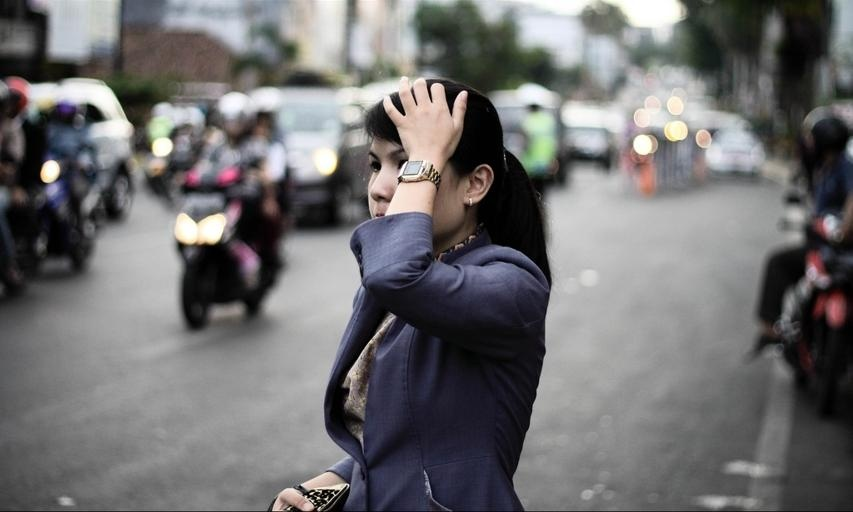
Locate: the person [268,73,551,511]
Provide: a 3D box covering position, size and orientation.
[{"bbox_3d":[0.063,0.195,5.107,1.196,2.242,0.815,1,12,1],"label":"person"}]
